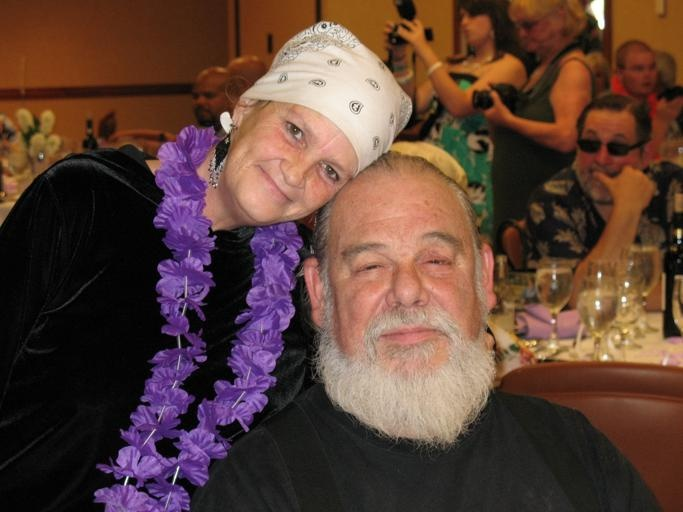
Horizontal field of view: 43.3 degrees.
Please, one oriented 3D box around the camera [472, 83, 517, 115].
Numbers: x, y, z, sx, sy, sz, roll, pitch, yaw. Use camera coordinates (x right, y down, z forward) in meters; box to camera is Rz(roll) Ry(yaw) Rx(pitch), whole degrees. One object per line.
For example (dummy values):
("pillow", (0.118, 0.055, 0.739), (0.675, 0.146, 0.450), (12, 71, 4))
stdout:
("camera", (0.874, -0.840, 4.833), (0.193, 0.104, 0.119), (4, 41, 11))
